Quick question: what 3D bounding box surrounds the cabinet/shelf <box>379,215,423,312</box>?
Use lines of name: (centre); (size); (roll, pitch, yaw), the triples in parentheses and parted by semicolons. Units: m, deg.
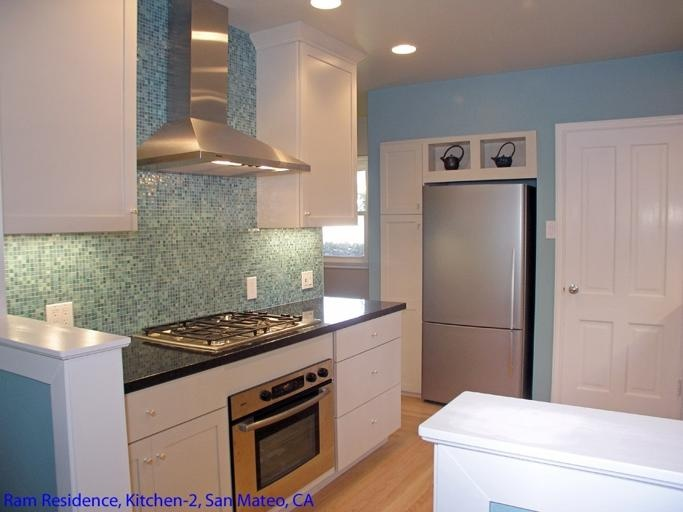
cabinet/shelf: (0.541, 0.077, 4.815); (0.387, 1.318, 0.107); (0, 45, 6)

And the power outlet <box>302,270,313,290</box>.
power outlet: (-0.253, 0.174, 3.825); (0.015, 0.121, 0.138); (4, 5, 31)

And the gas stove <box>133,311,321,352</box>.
gas stove: (-0.601, 0.385, 2.812); (0.657, 0.030, 0.851); (4, 6, 32)

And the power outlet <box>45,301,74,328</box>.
power outlet: (-1.295, 0.271, 2.436); (0.024, 0.114, 0.127); (4, 7, 37)

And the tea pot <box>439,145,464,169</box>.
tea pot: (0.963, -0.852, 4.572); (0.196, 0.234, 0.204); (0, 5, 0)
